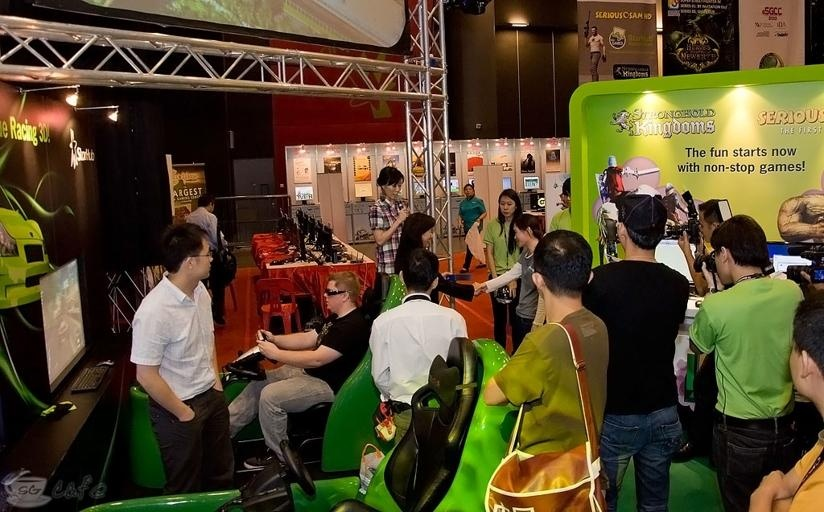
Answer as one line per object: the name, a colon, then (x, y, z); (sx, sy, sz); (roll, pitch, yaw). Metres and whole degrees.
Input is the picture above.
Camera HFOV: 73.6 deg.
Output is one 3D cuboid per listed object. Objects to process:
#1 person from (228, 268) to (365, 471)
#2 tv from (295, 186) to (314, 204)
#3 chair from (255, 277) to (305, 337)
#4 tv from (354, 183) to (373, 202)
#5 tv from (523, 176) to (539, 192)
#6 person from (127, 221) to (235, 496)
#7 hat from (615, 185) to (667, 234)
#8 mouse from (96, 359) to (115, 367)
person: (-0.890, 0.920, 4.455); (1.142, 1.552, 0.733); (-7, 8, -19)
tv: (-3.054, -1.655, 15.363); (0.440, 0.535, 0.073); (7, -16, -12)
chair: (-1.708, 0.645, 7.153); (0.600, 0.951, 0.616); (-1, 35, -4)
tv: (-1.442, -1.791, 15.851); (0.512, 0.553, 0.190); (0, 17, -1)
tv: (3.621, -2.144, 16.858); (0.511, 0.472, 0.168); (0, -13, 0)
person: (-1.564, 0.756, 3.695); (0.547, 1.899, 0.256); (-8, 9, -26)
hat: (1.339, -0.274, 3.254); (0.194, 0.160, 0.311); (2, 28, 4)
mouse: (-2.630, 0.917, 4.701); (0.091, 0.030, 0.065); (1, 8, -19)
